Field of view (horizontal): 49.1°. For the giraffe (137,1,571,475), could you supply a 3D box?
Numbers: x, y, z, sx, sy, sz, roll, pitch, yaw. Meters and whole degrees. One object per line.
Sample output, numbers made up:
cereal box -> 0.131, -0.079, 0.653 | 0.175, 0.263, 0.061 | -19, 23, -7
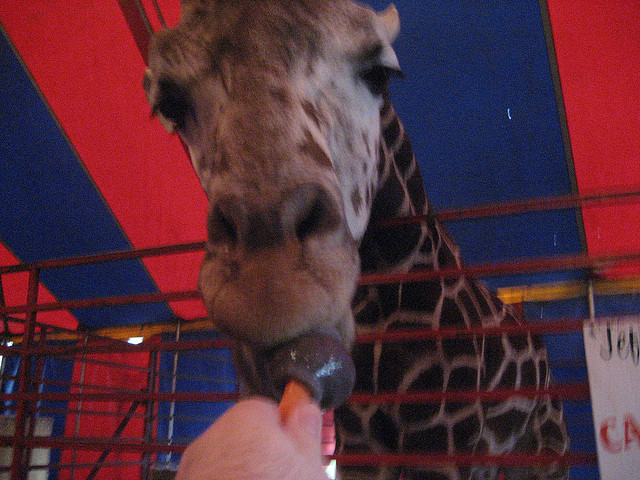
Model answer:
giraffe -> 0.205, 0.031, 4.684 | 1.086, 3.138, 2.637 | -13, -17, 37
